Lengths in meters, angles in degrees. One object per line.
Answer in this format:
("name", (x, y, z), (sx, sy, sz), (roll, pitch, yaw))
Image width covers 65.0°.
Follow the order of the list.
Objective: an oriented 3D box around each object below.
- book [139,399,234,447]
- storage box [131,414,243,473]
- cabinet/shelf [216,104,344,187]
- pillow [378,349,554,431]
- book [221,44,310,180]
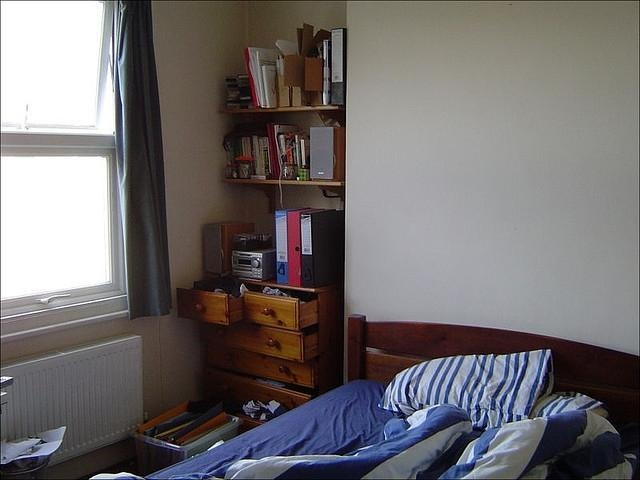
("book", (-0.703, 0.959, 2.720), (0.216, 0.093, 0.274), (3, 4, 35))
("storage box", (-0.699, 1.067, 2.661), (0.294, 0.236, 0.405), (2, 6, 34))
("cabinet/shelf", (-0.154, -0.609, 3.048), (0.274, 0.410, 0.780), (-15, 2, 38))
("pillow", (0.653, 0.647, 2.232), (0.536, 0.167, 0.362), (-7, 21, 27))
("book", (-0.323, -0.762, 3.017), (0.444, 0.764, 0.814), (4, 8, 22))
